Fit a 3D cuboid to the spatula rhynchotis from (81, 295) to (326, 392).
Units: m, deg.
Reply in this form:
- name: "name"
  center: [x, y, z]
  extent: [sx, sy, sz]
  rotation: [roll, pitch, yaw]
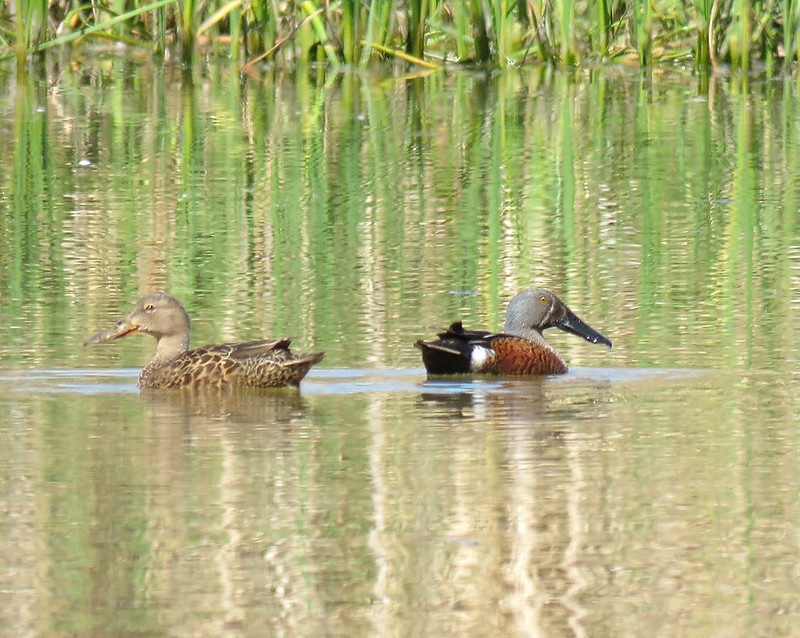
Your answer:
- name: "spatula rhynchotis"
  center: [-1.083, 0.199, 6.253]
  extent: [1.399, 0.629, 0.370]
  rotation: [-4, 1, 13]

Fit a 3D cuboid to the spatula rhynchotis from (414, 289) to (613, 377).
- name: "spatula rhynchotis"
  center: [0.684, 0.164, 6.889]
  extent: [1.517, 0.655, 0.472]
  rotation: [4, 1, -36]
